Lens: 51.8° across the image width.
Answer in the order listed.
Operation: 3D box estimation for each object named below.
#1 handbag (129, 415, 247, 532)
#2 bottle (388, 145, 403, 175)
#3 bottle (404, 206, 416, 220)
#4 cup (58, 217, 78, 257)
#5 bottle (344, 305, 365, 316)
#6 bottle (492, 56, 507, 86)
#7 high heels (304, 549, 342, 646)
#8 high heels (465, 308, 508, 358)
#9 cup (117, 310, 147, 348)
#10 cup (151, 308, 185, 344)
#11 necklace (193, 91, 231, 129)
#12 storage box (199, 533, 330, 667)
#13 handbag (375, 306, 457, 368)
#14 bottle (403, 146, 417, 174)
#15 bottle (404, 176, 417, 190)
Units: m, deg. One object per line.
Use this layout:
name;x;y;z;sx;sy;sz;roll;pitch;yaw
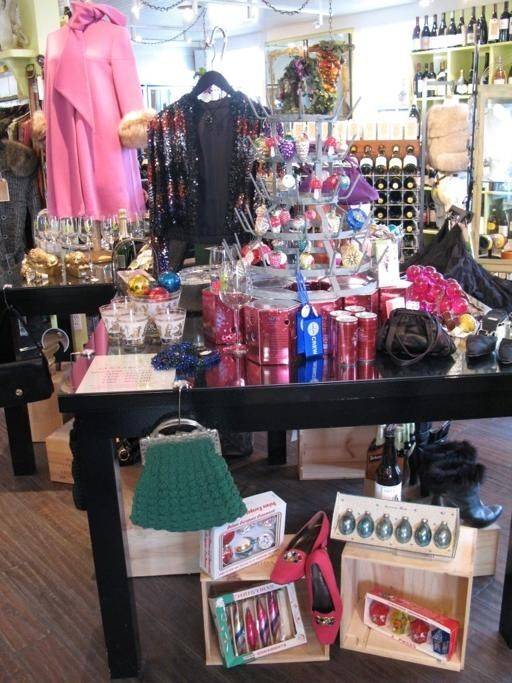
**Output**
handbag;-0.147;0.287;1.093;0.237;0.206;0.099;-4;12;-4
bottle;1.435;-1.887;5.451;0.133;0.288;0.163;0;12;16
bottle;1.616;-1.362;5.618;0.127;0.124;0.121;-7;15;25
cup;-1.004;-0.580;2.817;0.091;0.147;0.213;-7;12;-19
bottle;0.247;-0.080;1.336;0.038;0.032;0.038;9;20;30
bottle;2.532;-2.817;5.500;0.129;0.349;0.525;2;12;24
high heels;0.163;0.625;1.309;0.082;0.238;0.070;-4;18;21
high heels;0.594;-0.036;1.357;0.076;0.046;0.318;3;22;21
cup;-0.325;-0.039;1.411;0.092;0.102;0.093;0;12;0
cup;-0.228;-0.043;1.352;0.084;0.074;0.088;-1;9;0
necklace;-0.219;-1.204;2.773;0.172;0.168;0.055;-4;5;6
storage box;0.000;0.721;1.463;0.382;0.301;0.294;0;37;-5
handbag;0.373;-0.018;1.257;0.185;0.113;0.096;-1;21;22
bottle;1.587;-1.888;5.459;0.141;0.287;0.151;-3;12;1
bottle;1.598;-1.647;5.483;0.122;0.129;0.035;-4;12;-1
